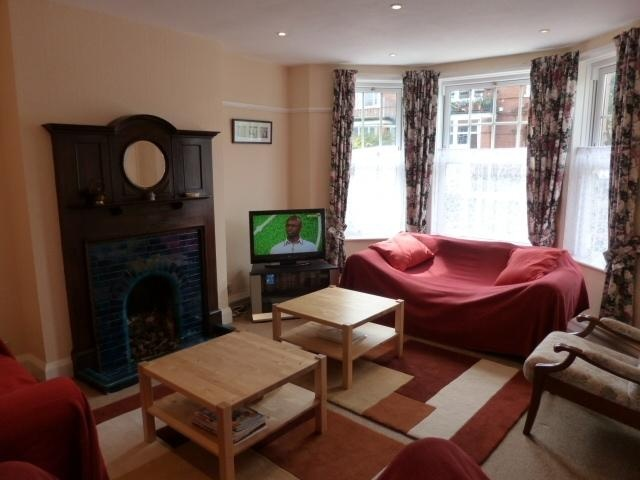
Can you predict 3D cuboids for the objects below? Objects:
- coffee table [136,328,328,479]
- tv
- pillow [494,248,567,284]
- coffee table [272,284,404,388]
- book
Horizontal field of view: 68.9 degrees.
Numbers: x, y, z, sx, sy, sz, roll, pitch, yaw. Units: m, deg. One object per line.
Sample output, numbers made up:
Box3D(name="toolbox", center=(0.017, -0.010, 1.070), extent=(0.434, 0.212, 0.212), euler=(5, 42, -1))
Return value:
Box3D(name="coffee table", center=(-0.587, 0.904, 3.033), extent=(0.851, 0.533, 0.824), euler=(9, 14, 39))
Box3D(name="tv", center=(-0.364, -0.015, 5.177), extent=(0.618, 0.453, 0.171), euler=(-2, 10, -15))
Box3D(name="pillow", center=(1.975, 0.231, 4.420), extent=(0.505, 0.156, 0.518), euler=(2, 15, 40))
Box3D(name="coffee table", center=(0.149, 0.802, 4.072), extent=(0.992, 0.557, 0.953), euler=(-7, 12, -40))
Box3D(name="book", center=(-0.503, 1.112, 2.835), extent=(0.247, 0.070, 0.248), euler=(5, 6, 42))
